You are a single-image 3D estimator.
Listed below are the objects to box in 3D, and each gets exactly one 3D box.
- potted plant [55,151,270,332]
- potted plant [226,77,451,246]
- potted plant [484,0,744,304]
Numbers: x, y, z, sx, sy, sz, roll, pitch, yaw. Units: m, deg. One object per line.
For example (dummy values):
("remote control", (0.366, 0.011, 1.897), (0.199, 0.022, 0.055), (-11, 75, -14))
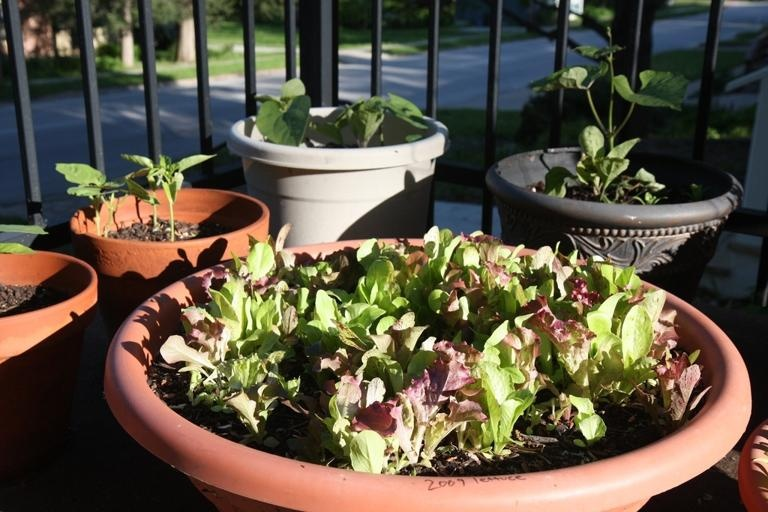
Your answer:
("potted plant", (-0.611, -0.012, 1.748), (0.471, 0.492, 0.487), (0, 19, -13))
("potted plant", (-0.095, -0.266, 2.001), (0.642, 0.505, 0.654), (-10, 25, -14))
("potted plant", (0.688, -0.305, 1.906), (0.701, 0.846, 0.708), (4, 15, 19))
